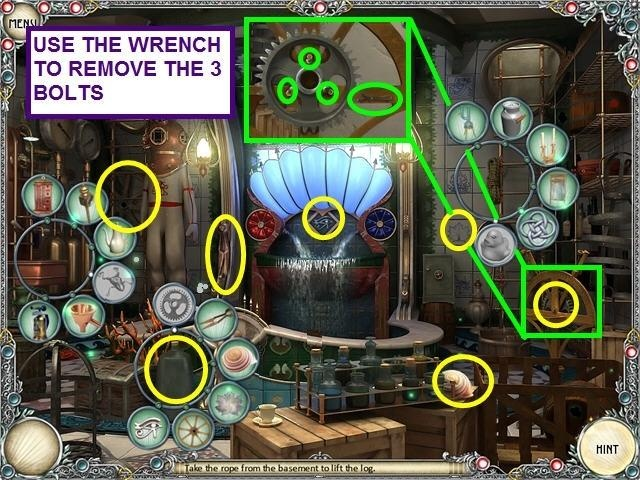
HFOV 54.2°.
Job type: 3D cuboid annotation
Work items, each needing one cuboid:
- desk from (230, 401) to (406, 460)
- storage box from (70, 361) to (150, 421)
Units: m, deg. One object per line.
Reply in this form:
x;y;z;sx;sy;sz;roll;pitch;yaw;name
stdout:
-0.018;1.331;4.301;0.587;0.346;0.561;2;-5;-27;desk
-1.995;1.391;5.718;0.796;0.536;0.582;0;-2;14;storage box
